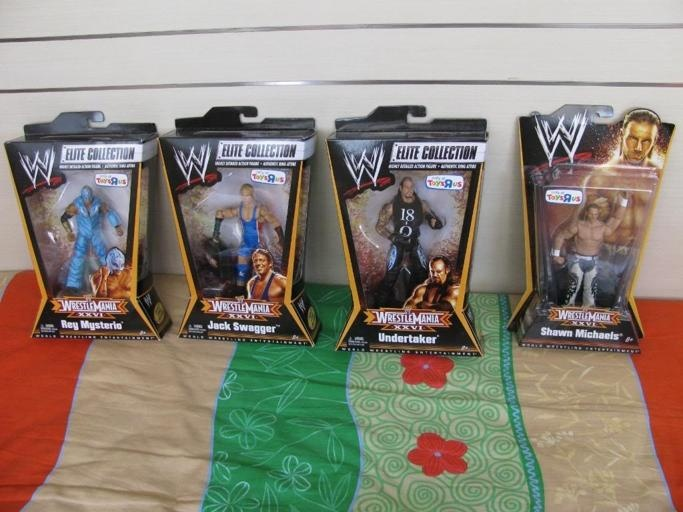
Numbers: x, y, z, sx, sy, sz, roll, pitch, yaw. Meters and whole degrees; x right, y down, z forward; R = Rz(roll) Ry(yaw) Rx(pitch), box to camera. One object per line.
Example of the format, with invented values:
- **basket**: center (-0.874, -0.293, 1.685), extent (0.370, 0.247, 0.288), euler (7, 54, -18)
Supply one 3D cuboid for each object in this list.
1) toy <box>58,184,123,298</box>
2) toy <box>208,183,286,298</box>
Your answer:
- **toy**: center (-0.787, -0.049, 1.729), extent (0.196, 0.342, 0.053), euler (2, 20, 5)
- **toy**: center (-0.293, -0.050, 1.701), extent (0.225, 0.349, 0.048), euler (-1, 20, -3)
